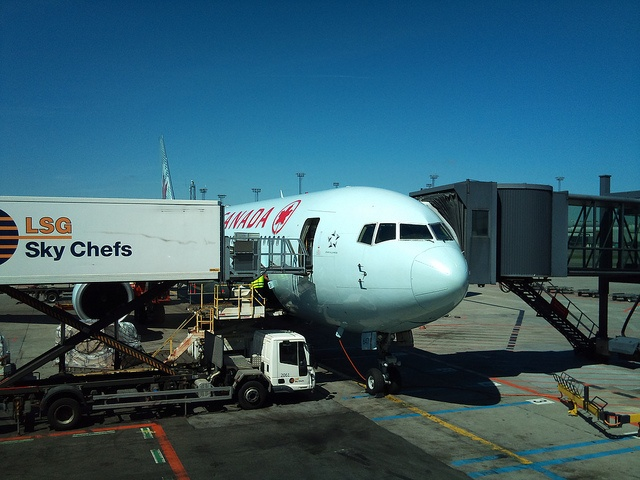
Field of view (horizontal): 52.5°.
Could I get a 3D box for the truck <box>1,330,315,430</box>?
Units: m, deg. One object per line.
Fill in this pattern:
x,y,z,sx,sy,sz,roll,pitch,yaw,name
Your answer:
-6.936,6.763,30.113,16.966,3.707,4.705,-2,1,-21,truck
